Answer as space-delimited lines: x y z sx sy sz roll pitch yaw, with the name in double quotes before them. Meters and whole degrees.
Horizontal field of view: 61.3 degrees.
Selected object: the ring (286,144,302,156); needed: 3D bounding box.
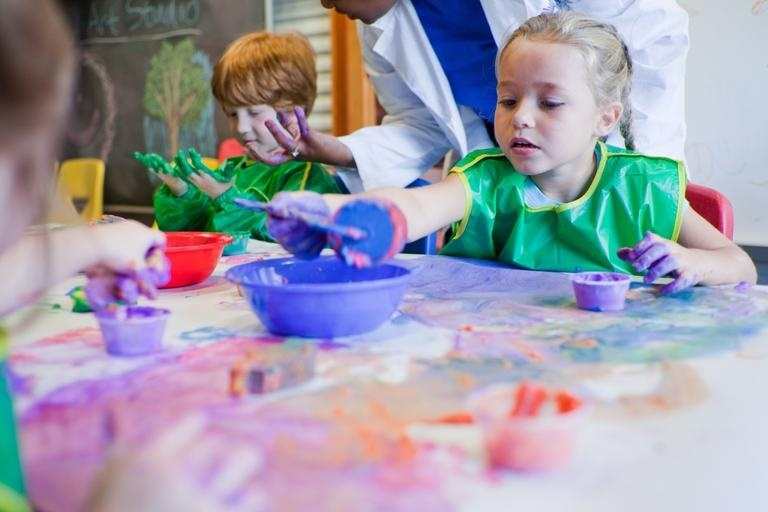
"ring" -0.232 -0.272 1.675 0.011 0.026 0.027 10 3 25
